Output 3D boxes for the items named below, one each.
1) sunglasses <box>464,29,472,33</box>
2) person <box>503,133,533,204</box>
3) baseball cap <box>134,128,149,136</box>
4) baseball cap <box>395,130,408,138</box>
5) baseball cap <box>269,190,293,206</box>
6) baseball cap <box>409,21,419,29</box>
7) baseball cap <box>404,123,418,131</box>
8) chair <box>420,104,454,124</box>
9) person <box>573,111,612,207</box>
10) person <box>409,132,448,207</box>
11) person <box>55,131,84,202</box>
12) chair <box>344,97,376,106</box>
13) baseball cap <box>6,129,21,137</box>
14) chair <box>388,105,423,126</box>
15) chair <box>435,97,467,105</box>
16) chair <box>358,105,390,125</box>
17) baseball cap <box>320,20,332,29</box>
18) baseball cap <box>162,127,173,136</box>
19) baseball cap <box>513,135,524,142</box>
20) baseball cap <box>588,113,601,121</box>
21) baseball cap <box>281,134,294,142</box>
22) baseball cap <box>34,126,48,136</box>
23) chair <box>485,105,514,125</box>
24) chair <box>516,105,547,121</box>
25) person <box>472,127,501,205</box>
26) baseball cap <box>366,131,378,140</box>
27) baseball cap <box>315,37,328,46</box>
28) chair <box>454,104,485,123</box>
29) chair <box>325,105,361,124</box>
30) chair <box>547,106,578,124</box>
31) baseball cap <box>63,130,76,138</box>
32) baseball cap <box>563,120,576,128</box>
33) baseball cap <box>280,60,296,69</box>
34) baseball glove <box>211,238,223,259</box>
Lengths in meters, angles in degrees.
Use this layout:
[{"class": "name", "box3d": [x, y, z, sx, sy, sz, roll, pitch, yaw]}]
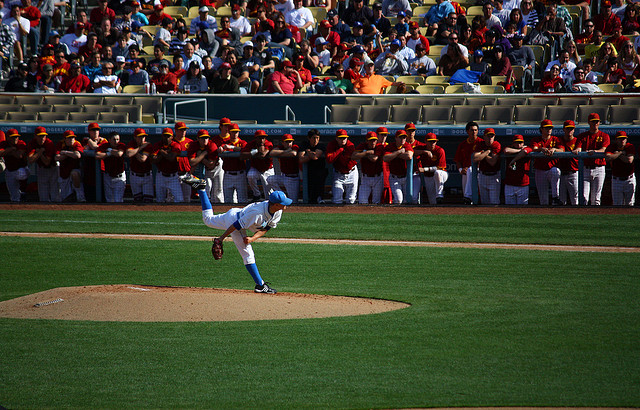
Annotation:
[{"class": "sunglasses", "box3d": [3.965, -4.746, 36.096, 0.242, 0.093, 0.098, -1, 1, -22]}, {"class": "person", "box3d": [4.815, -0.866, 32.789, 0.717, 1.721, 0.455, -1, 1, 7]}, {"class": "baseball cap", "box3d": [-4.623, -1.862, 33.908, 0.298, 0.216, 0.573, -1, 1, -7]}, {"class": "baseball cap", "box3d": [1.964, -1.775, 33.004, 0.260, 0.184, 0.373, -1, 1, 21]}, {"class": "baseball cap", "box3d": [-0.793, -0.115, 25.612, 0.385, 0.146, 0.235, 13, 26, -14]}, {"class": "baseball cap", "box3d": [2.458, -4.978, 36.543, 0.310, 0.207, 0.220, 1, 3, 32]}, {"class": "baseball cap", "box3d": [2.169, -1.935, 33.040, 0.239, 0.179, 0.280, -1, 1, 0]}, {"class": "chair", "box3d": [2.979, -2.353, 34.365, 0.559, 0.697, 0.633, 1, 4, 3]}, {"class": "person", "box3d": [6.597, -1.109, 32.603, 0.835, 2.230, 0.596, -1, 1, 11]}, {"class": "person", "box3d": [2.632, -0.863, 33.184, 0.933, 1.805, 0.622, -1, 1, 3]}, {"class": "person", "box3d": [-6.401, -0.958, 33.862, 0.671, 1.273, 0.688, -1, 1, -10]}, {"class": "chair", "box3d": [0.978, -2.735, 34.802, 0.758, 0.181, 0.196, -1, 1, -4]}, {"class": "baseball cap", "box3d": [-7.889, -1.836, 34.032, 0.266, 0.144, 0.297, -1, 1, -13]}, {"class": "chair", "box3d": [2.148, -2.361, 34.463, 0.630, 0.789, 0.710, 1, -2, 7]}, {"class": "chair", "box3d": [3.320, -2.703, 34.424, 0.820, 0.176, 0.131, -1, 1, 3]}, {"class": "chair", "box3d": [1.322, -2.333, 34.393, 0.579, 0.695, 0.614, 0, 3, 2]}, {"class": "baseball cap", "box3d": [0.109, -5.033, 36.905, 0.320, 0.242, 0.362, -1, 1, -10]}, {"class": "baseball cap", "box3d": [-3.887, -1.852, 33.543, 0.251, 0.222, 0.403, -1, 1, -7]}, {"class": "baseball cap", "box3d": [4.826, -1.640, 32.850, 0.231, 0.111, 0.297, 1, 2, -2]}, {"class": "baseball cap", "box3d": [6.608, -2.164, 32.588, 0.258, 0.190, 0.370, 2, 6, -6]}, {"class": "baseball cap", "box3d": [-0.890, -1.685, 33.568, 0.284, 0.205, 0.461, -1, 1, -1]}, {"class": "baseball cap", "box3d": [-7.156, -1.898, 33.895, 0.200, 0.135, 0.269, 0, -4, -45]}, {"class": "chair", "box3d": [4.502, -2.318, 33.908, 0.532, 0.650, 0.562, 0, 3, 6]}, {"class": "chair", "box3d": [5.281, -2.336, 33.742, 0.475, 0.572, 0.492, 0, 5, 5]}, {"class": "person", "box3d": [4.073, -0.946, 32.875, 0.615, 1.879, 0.537, -1, 1, 16]}, {"class": "baseball cap", "box3d": [1.238, -1.734, 33.112, 0.264, 0.211, 0.348, -1, 1, 3]}, {"class": "baseball cap", "box3d": [-0.032, -4.526, 36.676, 0.315, 0.150, 0.210, 0, 14, 9]}, {"class": "chair", "box3d": [3.769, -2.342, 34.065, 0.527, 0.640, 0.572, 1, -1, 3]}, {"class": "chair", "box3d": [0.530, -2.311, 34.729, 0.637, 0.736, 0.653, 0, -3, 6]}, {"class": "chair", "box3d": [6.039, -2.305, 33.645, 0.517, 0.654, 0.563, 0, -6, 5]}, {"class": "baseball cap", "box3d": [-6.396, -1.805, 33.795, 0.233, 0.098, 0.317, -4, 5, -28]}, {"class": "baseball cap", "box3d": [6.064, -1.991, 32.759, 0.259, 0.170, 0.345, 2, 5, 1]}, {"class": "baseball cap", "box3d": [-0.960, -3.784, 35.552, 0.307, 0.131, 0.201, -2, 13, -4]}, {"class": "baseball glove", "box3d": [-2.050, 0.865, 25.778, 0.287, 0.364, 0.217, 0, 3, 18]}]
